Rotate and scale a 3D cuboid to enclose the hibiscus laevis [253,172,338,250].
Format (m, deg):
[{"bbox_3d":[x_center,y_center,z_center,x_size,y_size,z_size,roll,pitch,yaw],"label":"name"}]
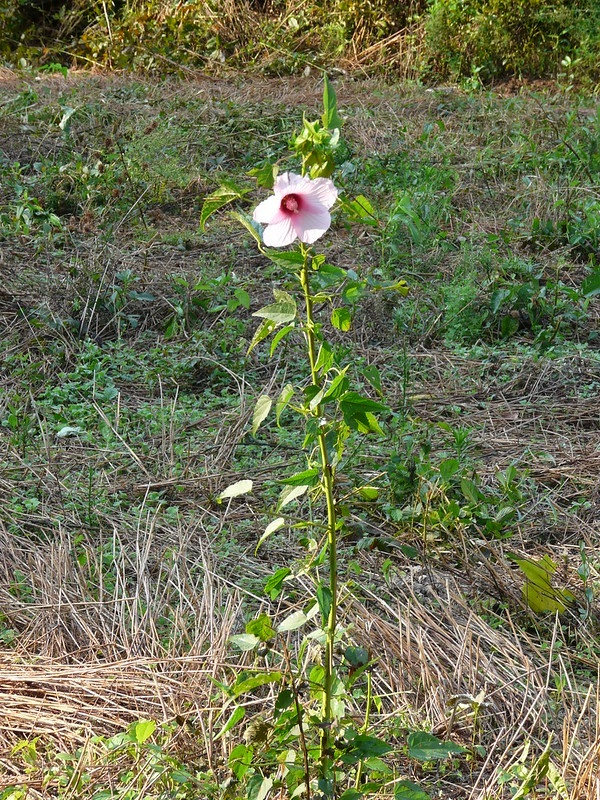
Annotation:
[{"bbox_3d":[-0.006,-0.391,1.918,0.208,0.047,0.162,3,-9,-15],"label":"hibiscus laevis"}]
